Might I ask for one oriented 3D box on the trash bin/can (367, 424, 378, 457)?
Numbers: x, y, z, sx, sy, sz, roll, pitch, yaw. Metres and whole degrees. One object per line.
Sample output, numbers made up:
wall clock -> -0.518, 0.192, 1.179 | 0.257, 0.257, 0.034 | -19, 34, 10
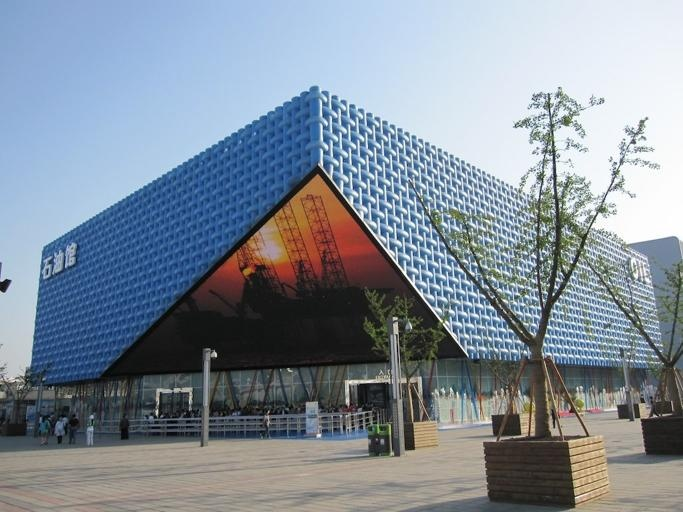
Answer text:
trash bin/can -> 1.271, 7.313, 21.817 | 0.434, 1.147, 0.262 | -7, -16, 13

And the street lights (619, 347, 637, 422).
street lights -> 20.555, 9.385, 39.227 | 0.827, 0.866, 8.720 | 24, -36, 45

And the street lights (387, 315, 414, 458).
street lights -> 2.116, 4.985, 21.747 | 0.591, 4.836, 0.543 | -2, -21, 3

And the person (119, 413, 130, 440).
person -> -14.271, 11.184, 35.921 | 0.530, 1.657, 1.895 | 4, -20, -23
